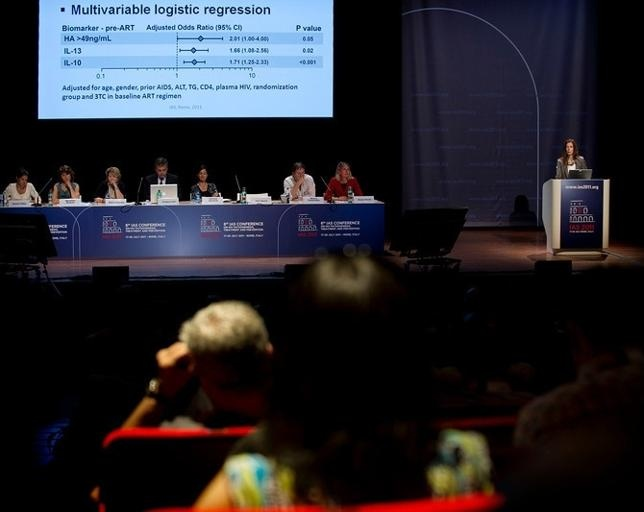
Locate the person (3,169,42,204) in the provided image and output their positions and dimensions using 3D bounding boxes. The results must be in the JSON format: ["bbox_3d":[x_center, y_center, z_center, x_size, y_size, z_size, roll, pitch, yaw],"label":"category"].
[{"bbox_3d":[-3.547,-0.806,6.491,0.337,0.388,1.672,-8,14,-27],"label":"person"}]

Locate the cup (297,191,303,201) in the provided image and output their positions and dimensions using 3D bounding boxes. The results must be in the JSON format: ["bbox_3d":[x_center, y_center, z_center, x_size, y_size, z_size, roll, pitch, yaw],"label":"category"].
[{"bbox_3d":[-0.258,-0.681,6.389,0.073,0.116,0.111,0,4,2],"label":"cup"}]

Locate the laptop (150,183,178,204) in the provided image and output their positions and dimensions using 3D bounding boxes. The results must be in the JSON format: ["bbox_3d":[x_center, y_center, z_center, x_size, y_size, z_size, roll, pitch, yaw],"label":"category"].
[{"bbox_3d":[-1.742,-0.667,6.067,0.278,0.205,0.209,0,2,-13],"label":"laptop"}]

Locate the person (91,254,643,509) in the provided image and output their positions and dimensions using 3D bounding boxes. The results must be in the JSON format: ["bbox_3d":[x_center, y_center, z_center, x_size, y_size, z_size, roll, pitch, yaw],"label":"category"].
[{"bbox_3d":[0.147,0.326,1.595,0.678,0.435,1.049,-1,-4,1],"label":"person"}]

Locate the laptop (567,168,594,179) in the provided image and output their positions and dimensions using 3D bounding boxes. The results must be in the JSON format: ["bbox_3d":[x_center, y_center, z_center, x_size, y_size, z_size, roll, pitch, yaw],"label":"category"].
[{"bbox_3d":[2.736,-0.857,5.864,0.315,0.092,0.171,-7,13,-20],"label":"laptop"}]
